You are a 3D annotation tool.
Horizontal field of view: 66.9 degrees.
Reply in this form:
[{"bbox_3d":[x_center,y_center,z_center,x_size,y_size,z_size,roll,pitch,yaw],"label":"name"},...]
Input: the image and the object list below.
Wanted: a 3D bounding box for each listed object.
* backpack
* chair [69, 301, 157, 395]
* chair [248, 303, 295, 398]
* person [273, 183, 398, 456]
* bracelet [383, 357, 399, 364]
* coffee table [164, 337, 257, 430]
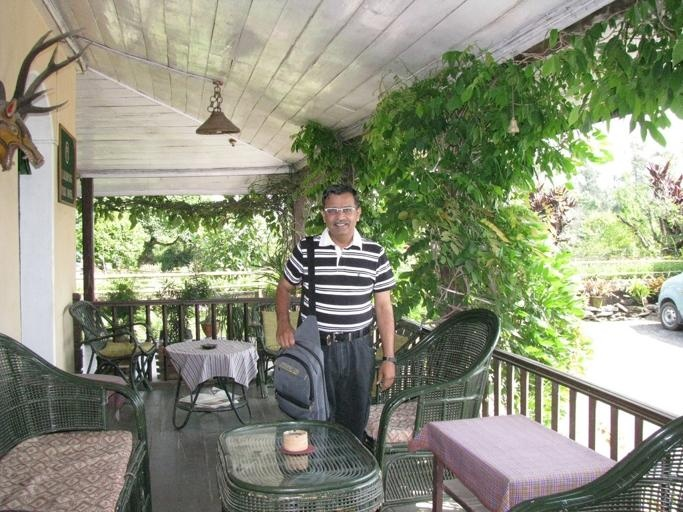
[{"bbox_3d":[-0.222,0.671,3.032,0.339,0.612,0.274,14,27,35],"label":"backpack"},{"bbox_3d":[-2.617,1.056,5.984,0.809,1.072,0.698,0,4,-2],"label":"chair"},{"bbox_3d":[-0.885,1.205,6.520,0.530,0.780,0.555,4,-26,-32],"label":"chair"},{"bbox_3d":[-0.041,0.565,3.229,0.775,1.973,0.556,-2,13,-10],"label":"person"},{"bbox_3d":[0.320,0.660,3.270,0.062,0.046,0.065,-17,-26,40],"label":"bracelet"},{"bbox_3d":[-1.394,1.276,5.474,0.879,0.862,1.299,1,-1,-20],"label":"coffee table"}]
